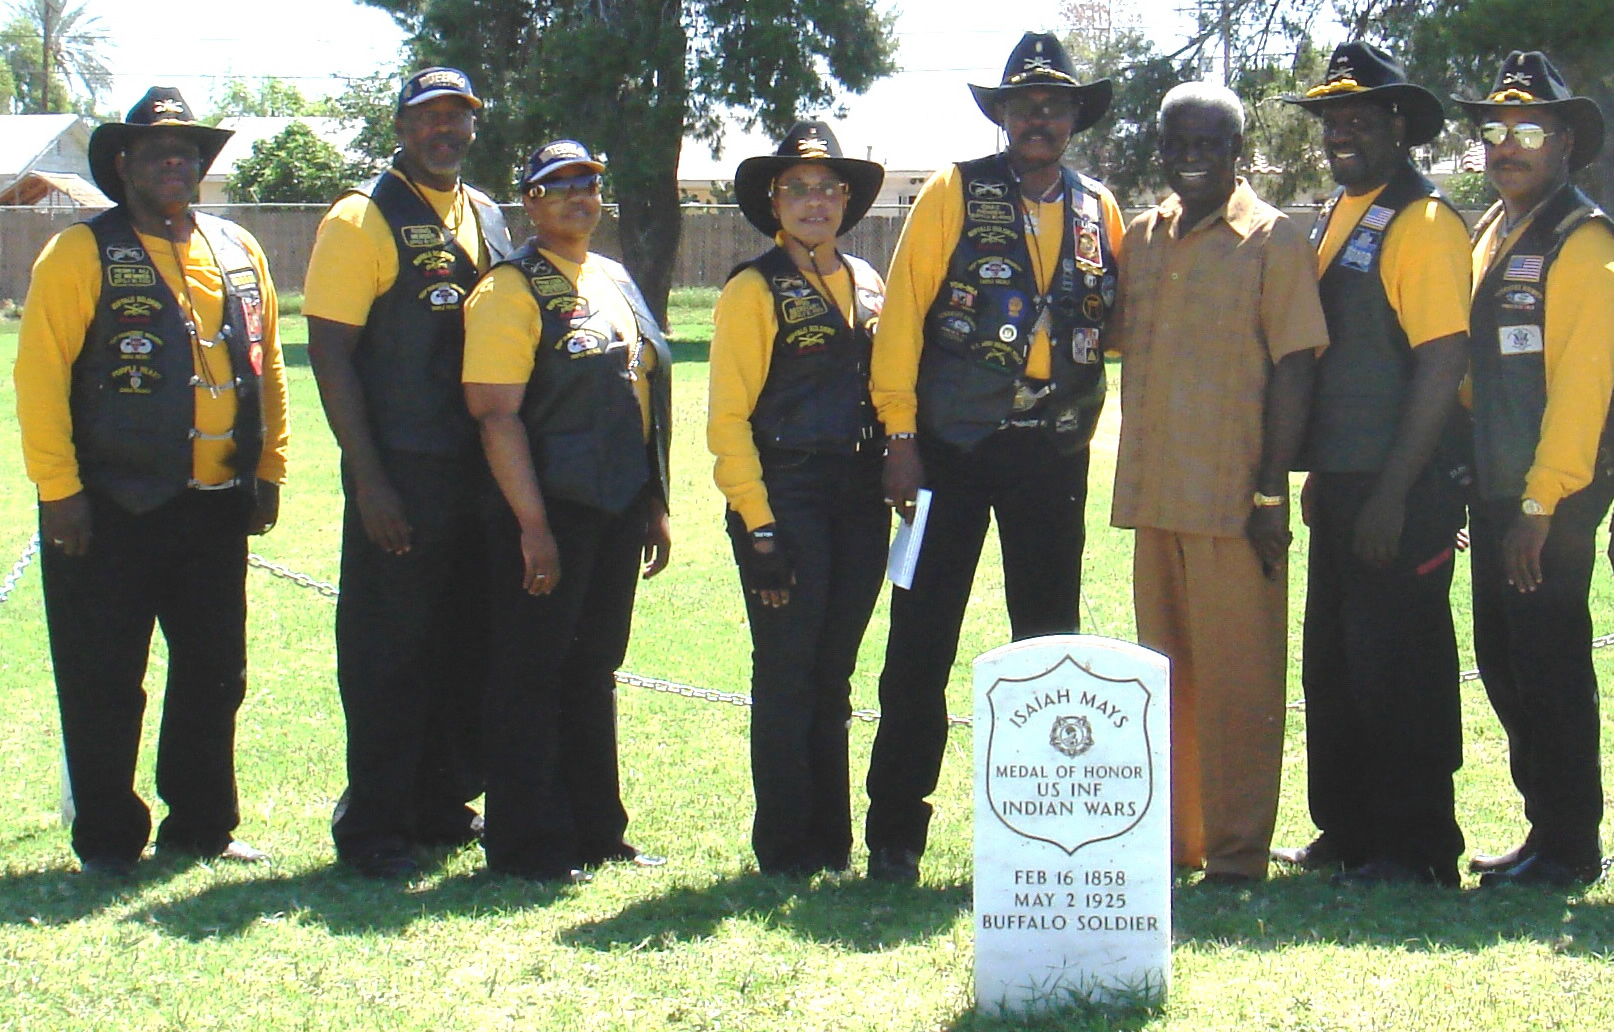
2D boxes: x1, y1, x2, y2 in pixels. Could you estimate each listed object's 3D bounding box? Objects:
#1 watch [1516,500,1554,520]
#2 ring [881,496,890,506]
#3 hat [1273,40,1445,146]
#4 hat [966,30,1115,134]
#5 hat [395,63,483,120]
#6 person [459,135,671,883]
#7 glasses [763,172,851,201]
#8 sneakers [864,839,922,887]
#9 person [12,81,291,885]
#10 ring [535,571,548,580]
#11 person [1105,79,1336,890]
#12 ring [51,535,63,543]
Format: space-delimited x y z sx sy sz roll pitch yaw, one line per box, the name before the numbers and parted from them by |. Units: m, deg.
watch | 3.199 -0.024 8.577 0.097 0.046 0.087 5 1 -10
ring | 0.353 -0.070 8.935 0.052 0.041 0.013 3 9 25
hat | 2.581 -1.936 8.794 0.660 0.224 0.548 21 -11 -31
hat | 1.032 -2.043 8.940 0.580 0.432 0.783 4 5 19
hat | -1.727 -2.009 9.081 0.367 0.235 0.413 1 5 -12
person | -1.112 -0.022 8.922 0.956 3.389 0.422 1 6 -19
glasses | -0.014 -1.502 8.853 0.346 0.138 0.199 2 5 6
sneakers | 0.389 1.626 8.885 0.210 0.126 0.187 2 -10 -7
person | -3.085 -0.165 8.994 1.059 3.647 0.395 1 6 -20
ring | -1.196 0.274 8.722 0.042 0.030 0.014 0 6 -23
person | 1.819 -0.133 8.801 0.924 3.611 0.406 4 6 16
ring | -3.386 0.103 8.778 0.046 0.035 0.010 2 5 -1
